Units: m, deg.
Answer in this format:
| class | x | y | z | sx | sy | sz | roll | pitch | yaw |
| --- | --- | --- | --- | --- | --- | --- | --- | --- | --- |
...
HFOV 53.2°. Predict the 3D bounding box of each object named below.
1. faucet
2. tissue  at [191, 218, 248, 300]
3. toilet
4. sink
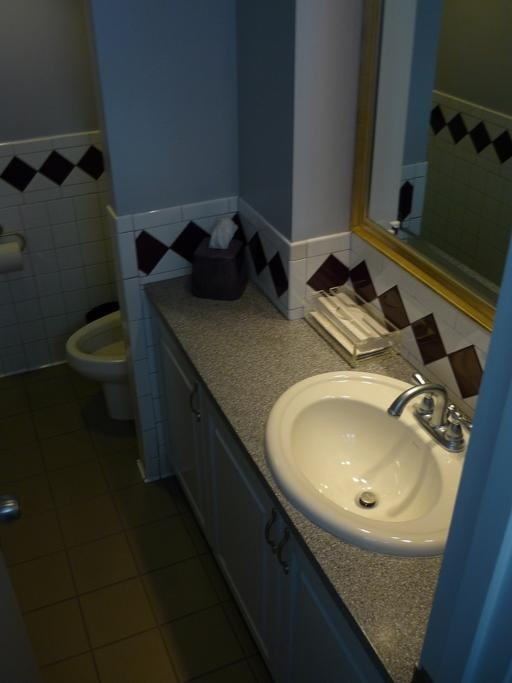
| class | x | y | z | sx | sy | sz | roll | pitch | yaw |
| --- | --- | --- | --- | --- | --- | --- | --- | --- | --- |
| faucet | 0.414 | 0.176 | 1.213 | 0.104 | 0.115 | 0.149 | -24 | 47 | -18 |
| tissue  | -0.132 | -0.301 | 1.851 | 0.237 | 0.239 | 0.209 | -18 | 35 | -21 |
| toilet | -0.742 | 0.152 | 2.586 | 0.338 | 0.482 | 0.339 | -11 | 35 | -19 |
| sink | 0.257 | 0.283 | 1.237 | 0.302 | 0.233 | 0.430 | -18 | 41 | -15 |
